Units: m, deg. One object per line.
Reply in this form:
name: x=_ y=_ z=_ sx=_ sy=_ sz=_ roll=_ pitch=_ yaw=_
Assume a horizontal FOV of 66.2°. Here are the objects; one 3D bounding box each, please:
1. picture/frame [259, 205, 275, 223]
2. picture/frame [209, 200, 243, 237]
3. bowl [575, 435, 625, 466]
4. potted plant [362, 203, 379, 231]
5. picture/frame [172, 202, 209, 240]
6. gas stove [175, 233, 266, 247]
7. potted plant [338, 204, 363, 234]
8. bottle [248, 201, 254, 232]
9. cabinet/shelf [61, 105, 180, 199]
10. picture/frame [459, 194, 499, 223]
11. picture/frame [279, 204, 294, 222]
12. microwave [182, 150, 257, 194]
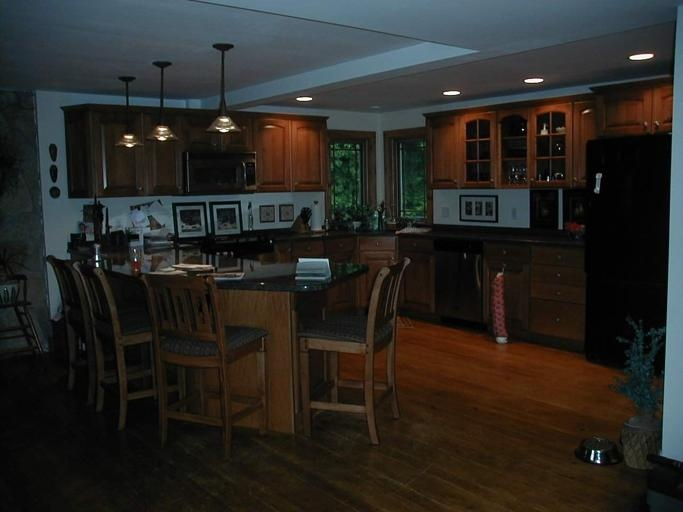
picture/frame: x=-0.966 y=-0.546 z=6.729 sx=0.203 sy=0.191 sz=0.027 roll=-14 pitch=10 yaw=-38
picture/frame: x=-1.439 y=-0.458 z=6.419 sx=0.423 sy=0.437 sz=0.032 roll=-7 pitch=5 yaw=-38
bowl: x=1.682 y=1.225 z=3.362 sx=0.359 sy=0.095 sz=0.188 roll=-3 pitch=11 yaw=-14
potted plant: x=0.368 y=-0.507 z=7.204 sx=0.282 sy=0.360 sz=0.303 roll=-2 pitch=12 yaw=-12
picture/frame: x=-1.819 y=-0.420 z=6.230 sx=0.445 sy=0.456 sz=0.032 roll=-5 pitch=8 yaw=-36
gas stove: x=-1.357 y=-0.204 z=6.168 sx=1.173 sy=0.089 sz=0.754 roll=-5 pitch=11 yaw=-20
potted plant: x=0.119 y=-0.499 z=7.061 sx=0.359 sy=0.347 sz=0.332 roll=3 pitch=11 yaw=12
bottle: x=-1.144 y=-0.497 z=6.599 sx=0.087 sy=0.351 sz=0.070 roll=-6 pitch=12 yaw=-25
cabinet/shelf: x=-2.373 y=-1.101 z=5.484 sx=0.961 sy=0.792 sz=0.393 roll=-6 pitch=9 yaw=-38
picture/frame: x=1.739 y=-0.597 z=6.561 sx=0.357 sy=0.256 sz=0.017 roll=8 pitch=14 yaw=39
picture/frame: x=-0.734 y=-0.567 z=6.876 sx=0.237 sy=0.231 sz=0.023 roll=-1 pitch=8 yaw=-31
microwave: x=-1.464 y=-0.945 z=6.047 sx=0.893 sy=0.528 sz=0.467 roll=-5 pitch=8 yaw=-39
